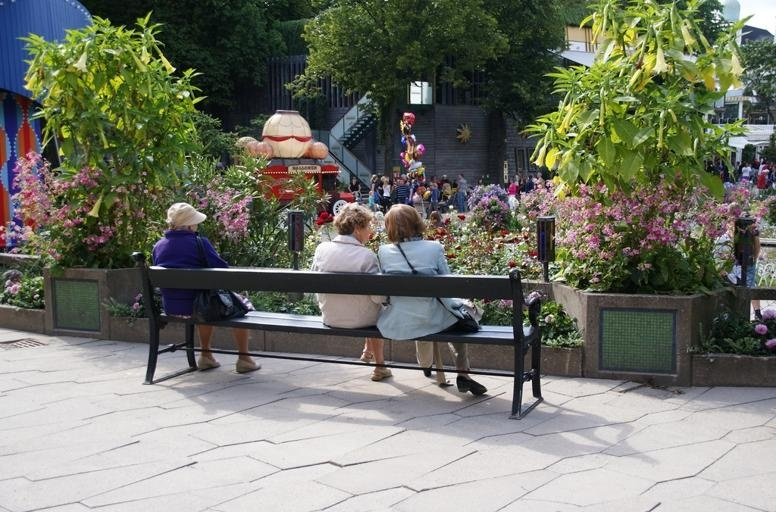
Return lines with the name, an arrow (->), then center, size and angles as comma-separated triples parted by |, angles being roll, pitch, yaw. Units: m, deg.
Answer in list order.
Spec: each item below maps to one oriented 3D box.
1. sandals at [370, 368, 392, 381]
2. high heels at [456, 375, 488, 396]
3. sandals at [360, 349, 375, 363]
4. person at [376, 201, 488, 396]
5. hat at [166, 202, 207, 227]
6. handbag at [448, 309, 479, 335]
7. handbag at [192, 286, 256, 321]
sandals -> -0.091, 1.350, 9.750 | 0.124, 0.126, 0.276 | 4, 10, 33
high heels -> 0.855, 1.400, 9.212 | 0.401, 0.177, 0.151 | 18, 13, -24
sandals -> -0.233, 1.156, 9.846 | 0.146, 0.123, 0.330 | 0, -6, -2
person -> 0.399, 0.474, 9.030 | 1.026, 2.022, 0.608 | 0, 0, -4
hat -> -2.321, -0.453, 9.756 | 0.265, 0.176, 0.356 | 7, 16, 29
handbag -> 0.798, 0.691, 8.969 | 0.295, 0.212, 0.092 | 0, 0, 1
handbag -> -1.885, 0.559, 9.808 | 0.626, 0.606, 0.326 | 7, -30, -36
